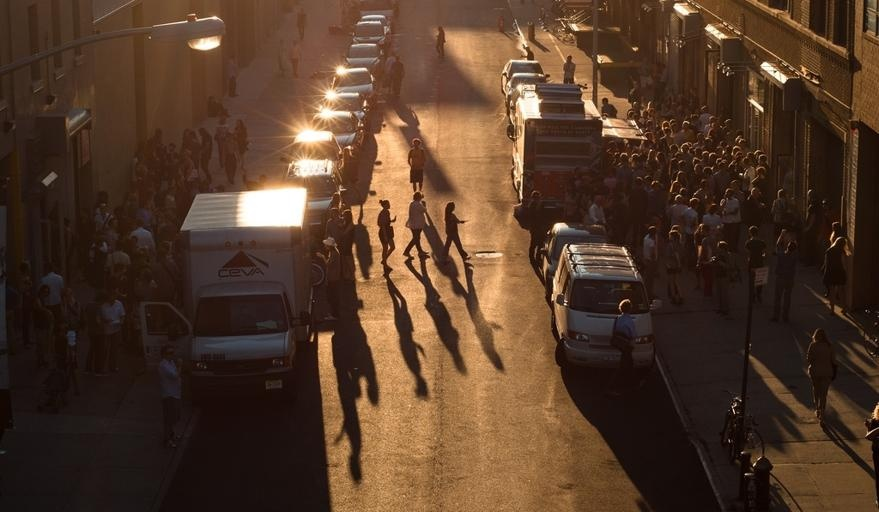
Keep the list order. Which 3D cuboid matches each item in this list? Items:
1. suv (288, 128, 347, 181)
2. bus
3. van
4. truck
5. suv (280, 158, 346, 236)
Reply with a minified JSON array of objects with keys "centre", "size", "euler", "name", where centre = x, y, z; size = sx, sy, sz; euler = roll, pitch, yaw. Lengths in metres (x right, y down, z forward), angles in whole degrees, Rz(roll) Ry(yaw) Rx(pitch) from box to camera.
[{"centre":[-5.319,-4.085,41.868],"size":[1.459,1.444,2.774],"euler":[-1,33,3],"name":"suv"},{"centre":[4.808,-4.723,40.140],"size":[3.394,3.647,6.736],"euler":[0,27,0],"name":"bus"},{"centre":[4.619,1.354,28.774],"size":[1.931,2.174,3.958],"euler":[0,18,2],"name":"van"},{"centre":[-6.141,0.766,29.110],"size":[4.085,4.184,7.483],"euler":[-1,20,-6],"name":"truck"},{"centre":[-4.494,-2.062,34.979],"size":[2.208,2.830,6.276],"euler":[2,0,-11],"name":"suv"}]
